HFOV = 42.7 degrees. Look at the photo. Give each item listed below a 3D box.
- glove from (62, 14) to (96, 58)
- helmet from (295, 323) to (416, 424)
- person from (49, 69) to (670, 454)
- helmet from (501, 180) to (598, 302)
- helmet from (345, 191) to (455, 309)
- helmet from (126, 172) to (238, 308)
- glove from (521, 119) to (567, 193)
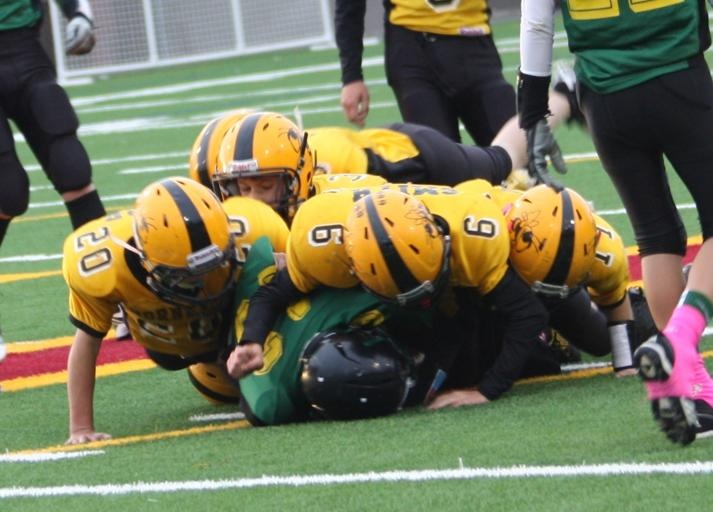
[{"bbox_3d":[-1.412,-1.123,4.675,0.109,0.153,0.217,-17,48,11],"label":"glove"},{"bbox_3d":[0.003,0.479,3.729,0.426,0.331,0.361,0,8,5],"label":"helmet"},{"bbox_3d":[-0.282,-0.208,4.604,1.435,0.881,2.562,-27,-7,37],"label":"person"},{"bbox_3d":[0.792,-0.071,3.863,0.346,0.483,0.405,0,5,-4],"label":"helmet"},{"bbox_3d":[0.189,-0.025,3.732,0.346,0.462,0.379,-42,-6,11],"label":"helmet"},{"bbox_3d":[-0.725,-0.030,3.835,0.384,0.528,0.323,-27,-19,-24],"label":"helmet"},{"bbox_3d":[0.769,-0.389,3.654,0.073,0.256,0.192,-2,45,29],"label":"glove"}]
